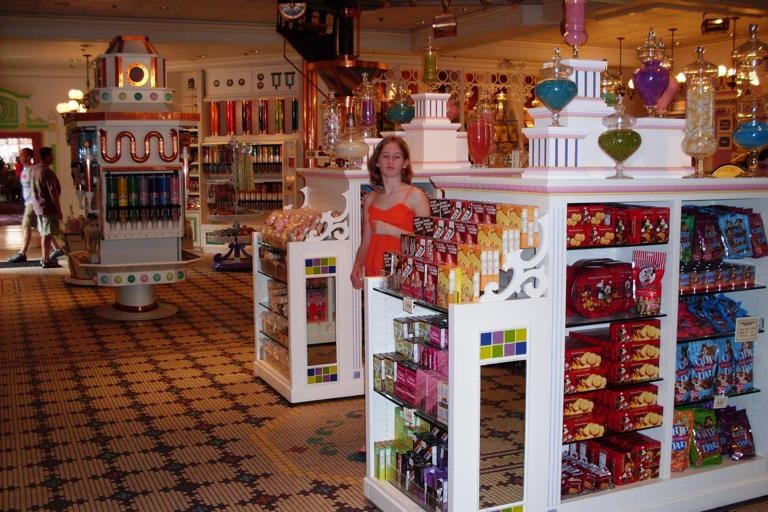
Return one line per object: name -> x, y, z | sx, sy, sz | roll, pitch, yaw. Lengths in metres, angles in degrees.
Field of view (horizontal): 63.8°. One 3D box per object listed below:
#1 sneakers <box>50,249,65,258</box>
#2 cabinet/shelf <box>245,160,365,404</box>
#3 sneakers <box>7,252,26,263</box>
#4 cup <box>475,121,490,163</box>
sneakers -> -6.388, -0.032, 12.061 | 0.150, 0.158, 0.428 | 0, 5, 10
cabinet/shelf -> -0.672, 0.238, 5.759 | 0.938, 2.072, 0.908 | -5, 12, -21
sneakers -> -7.150, 0.048, 12.002 | 0.138, 0.139, 0.354 | 29, 23, 34
cup -> 0.904, -1.002, 5.524 | 0.120, 0.365, 0.250 | 2, 12, 11
